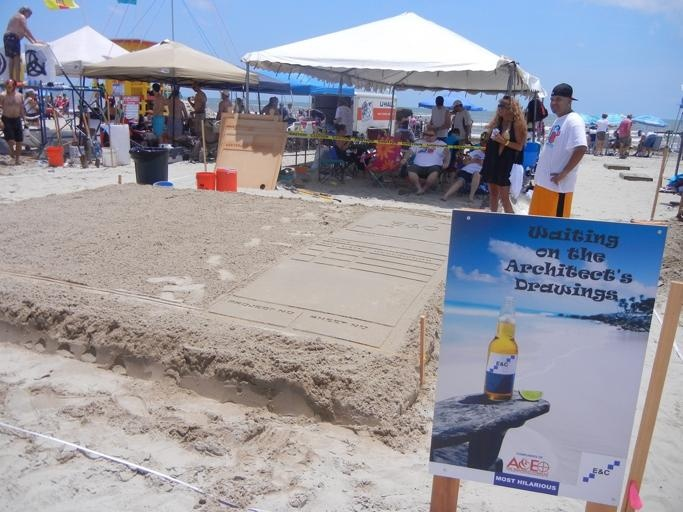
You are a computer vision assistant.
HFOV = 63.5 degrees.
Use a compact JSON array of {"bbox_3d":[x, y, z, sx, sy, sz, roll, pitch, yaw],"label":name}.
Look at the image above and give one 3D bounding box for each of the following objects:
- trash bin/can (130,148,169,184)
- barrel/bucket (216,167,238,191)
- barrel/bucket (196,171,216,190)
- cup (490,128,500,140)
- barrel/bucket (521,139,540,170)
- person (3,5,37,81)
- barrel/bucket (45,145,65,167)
[{"bbox_3d":[-3.609,-1.756,10.742,0.798,0.661,0.655,-1,16,-8],"label":"trash bin/can"},{"bbox_3d":[-2.155,-1.437,10.235,0.423,0.398,0.408,5,19,-2],"label":"barrel/bucket"},{"bbox_3d":[-2.475,-1.398,10.182,0.353,0.331,0.379,3,14,-1],"label":"barrel/bucket"},{"bbox_3d":[1.929,-1.524,6.891,0.096,0.142,0.144,6,12,14],"label":"cup"},{"bbox_3d":[3.618,-1.910,10.472,0.247,0.522,1.060,7,13,20],"label":"barrel/bucket"},{"bbox_3d":[-7.599,-4.913,12.980,0.639,1.687,1.119,-4,14,-29],"label":"person"},{"bbox_3d":[-6.838,-2.393,13.222,0.517,0.532,0.507,10,13,-2],"label":"barrel/bucket"}]
